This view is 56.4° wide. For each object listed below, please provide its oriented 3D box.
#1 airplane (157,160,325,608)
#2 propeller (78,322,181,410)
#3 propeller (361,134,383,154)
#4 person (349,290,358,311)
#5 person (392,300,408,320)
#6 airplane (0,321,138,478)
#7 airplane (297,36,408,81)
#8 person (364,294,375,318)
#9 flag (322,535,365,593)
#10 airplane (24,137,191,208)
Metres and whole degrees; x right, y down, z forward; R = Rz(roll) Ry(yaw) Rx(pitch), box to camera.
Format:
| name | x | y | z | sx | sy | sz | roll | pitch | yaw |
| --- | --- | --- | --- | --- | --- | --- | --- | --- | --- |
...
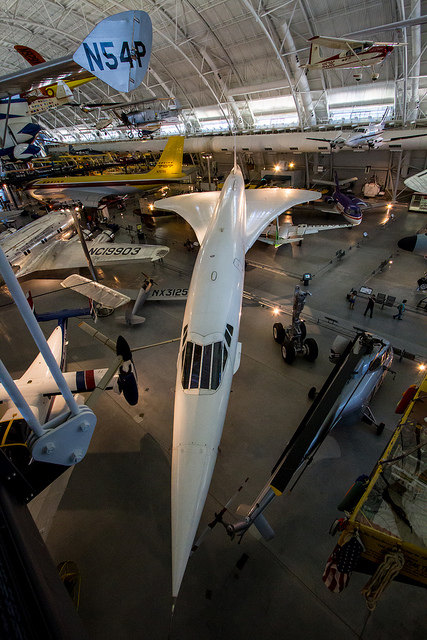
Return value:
| name | x | y | z | sx | sy | sz | roll | pitch | yaw |
| --- | --- | --- | --- | --- | --- | --- | --- | --- | --- |
| airplane | 1.472 | -0.258 | 14.538 | 6.285 | 1.753 | 15.091 | -8 | 46 | 27 |
| propeller | -2.215 | 0.918 | 8.449 | 1.780 | 0.533 | 1.804 | 17 | 67 | 18 |
| propeller | 10.867 | -12.507 | 27.618 | 0.590 | 0.805 | 2.205 | 14 | 31 | 36 |
| person | 6.372 | -1.145 | 18.186 | 0.294 | 0.842 | 1.507 | 5 | 26 | 21 |
| person | 7.938 | -0.656 | 16.982 | 0.408 | 0.854 | 1.426 | 9 | 28 | 29 |
| airplane | -3.270 | 1.854 | 9.440 | 2.967 | 1.270 | 3.204 | -24 | 22 | 14 |
| airplane | 6.693 | -13.526 | 20.227 | 3.717 | 1.749 | 6.822 | 0 | 25 | 11 |
| person | 6.695 | -0.669 | 17.126 | 0.370 | 0.958 | 0.925 | 5 | 26 | 22 |
| flag | 2.087 | 3.884 | 6.366 | 0.419 | 1.069 | 0.137 | 18 | 10 | 18 |
| airplane | -8.493 | -11.033 | 31.109 | 12.340 | 3.638 | 12.899 | -2 | 10 | 3 |
